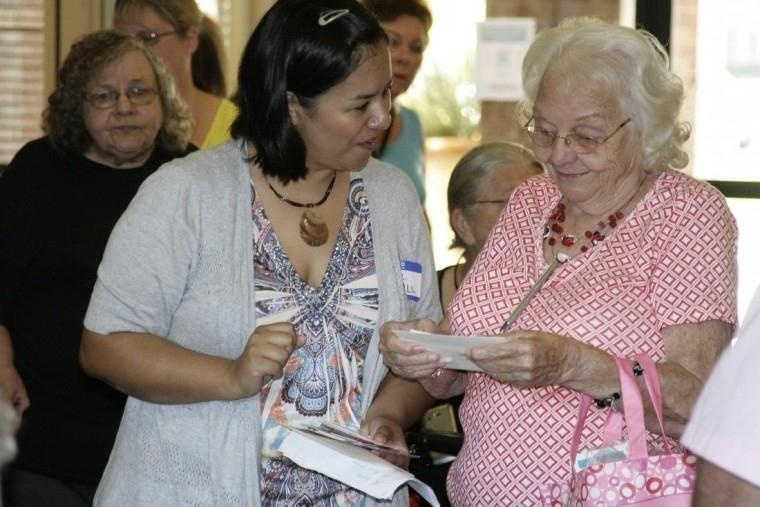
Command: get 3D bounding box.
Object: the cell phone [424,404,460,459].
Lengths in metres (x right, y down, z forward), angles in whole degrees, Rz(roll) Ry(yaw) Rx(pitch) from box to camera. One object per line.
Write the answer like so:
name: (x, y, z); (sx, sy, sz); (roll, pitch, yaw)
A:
cell phone: (0.284, 0.806, 3.864); (0.109, 0.192, 0.022); (-10, -9, 0)

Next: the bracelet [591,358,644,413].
bracelet: (0.746, 0.415, 2.678); (0.179, 0.134, 0.080); (-2, 59, -32)

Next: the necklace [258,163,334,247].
necklace: (-0.259, -0.188, 2.912); (0.218, 0.038, 0.352); (1, 47, -27)

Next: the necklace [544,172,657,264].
necklace: (0.799, -0.061, 3.008); (0.357, 0.093, 0.272); (-47, 23, -7)
